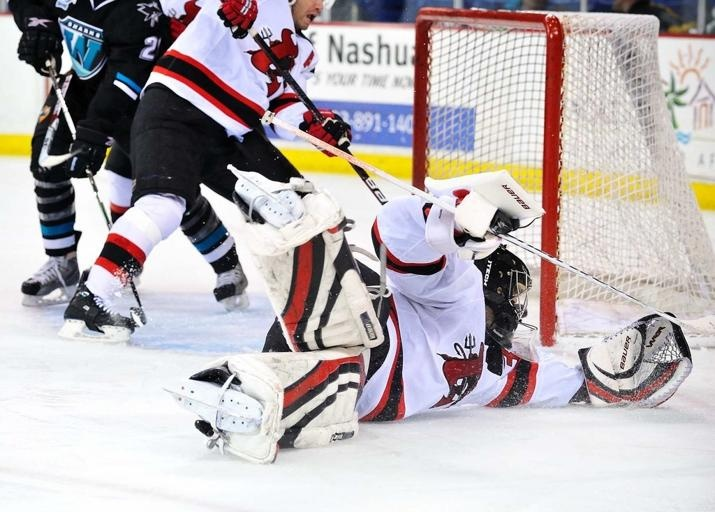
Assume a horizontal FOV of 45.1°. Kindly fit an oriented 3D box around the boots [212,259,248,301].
[{"bbox_3d":[-0.606,0.120,4.033,0.135,0.194,0.291,-8,-7,4],"label":"boots"}]

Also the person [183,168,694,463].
[{"bbox_3d":[0.173,0.055,2.547,1.162,0.431,0.864,-2,9,-26],"label":"person"}]

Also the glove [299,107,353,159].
[{"bbox_3d":[-0.113,-0.512,3.545,0.248,0.186,0.106,28,25,12],"label":"glove"}]

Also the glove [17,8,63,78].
[{"bbox_3d":[-1.383,-0.933,3.807,0.265,0.253,0.112,10,8,19],"label":"glove"}]

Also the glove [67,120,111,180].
[{"bbox_3d":[-1.069,-0.424,3.452,0.168,0.214,0.094,36,21,18],"label":"glove"}]
